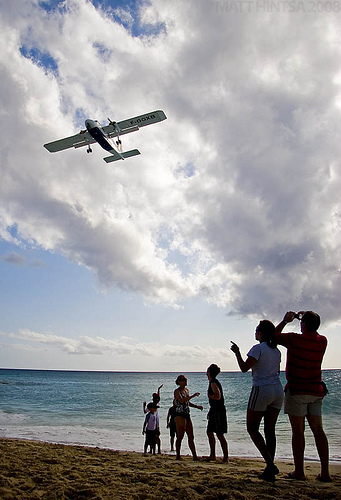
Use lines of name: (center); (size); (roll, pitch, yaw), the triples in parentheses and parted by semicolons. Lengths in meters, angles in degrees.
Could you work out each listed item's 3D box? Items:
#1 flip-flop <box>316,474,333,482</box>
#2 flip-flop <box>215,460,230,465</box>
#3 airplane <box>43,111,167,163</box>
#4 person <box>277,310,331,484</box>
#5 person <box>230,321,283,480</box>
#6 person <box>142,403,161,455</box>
flip-flop: (1.982, 2.937, 5.463); (0.202, 0.069, 0.180); (-2, -17, 17)
flip-flop: (0.910, 3.711, 7.374); (0.242, 0.031, 0.542); (0, -17, 10)
airplane: (-3.254, -5.531, 21.035); (4.359, 1.139, 5.257); (10, -18, -21)
person: (1.721, 1.878, 5.534); (0.618, 2.111, 0.535); (-1, -17, 15)
person: (1.156, 1.894, 5.379); (0.727, 1.968, 0.449); (14, -19, -31)
person: (-0.398, 3.607, 8.525); (0.287, 1.012, 0.588); (4, -17, -2)
